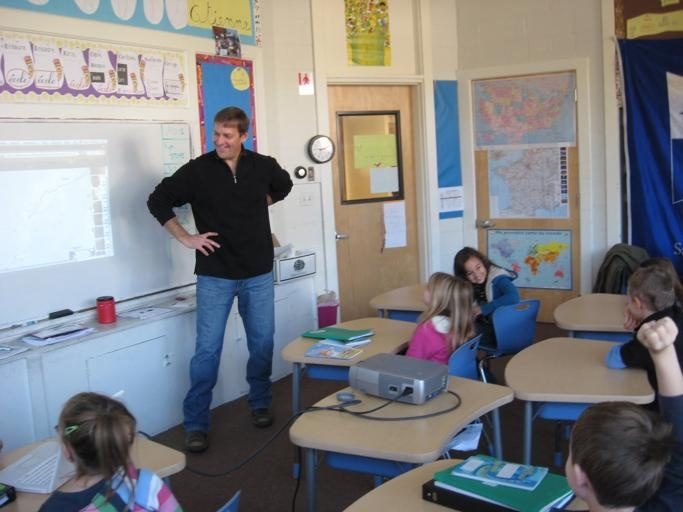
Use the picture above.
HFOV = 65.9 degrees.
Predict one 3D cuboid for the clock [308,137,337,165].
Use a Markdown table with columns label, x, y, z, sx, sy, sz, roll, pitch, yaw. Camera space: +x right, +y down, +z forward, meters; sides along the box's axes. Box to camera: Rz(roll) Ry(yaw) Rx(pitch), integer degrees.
| label | x | y | z | sx | sy | sz | roll | pitch | yaw |
| --- | --- | --- | --- | --- | --- | --- | --- | --- | --- |
| clock | -0.188 | -1.003 | 4.975 | 0.260 | 0.263 | 0.084 | -9 | 12 | -33 |

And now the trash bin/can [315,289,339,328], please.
| label | x | y | z | sx | sy | sz | roll | pitch | yaw |
| --- | --- | --- | --- | --- | --- | --- | --- | --- | --- |
| trash bin/can | -0.159 | 0.492 | 4.958 | 0.326 | 0.362 | 0.258 | -1 | 1 | -16 |

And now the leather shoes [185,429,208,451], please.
| label | x | y | z | sx | sy | sz | roll | pitch | yaw |
| --- | --- | --- | --- | --- | --- | --- | --- | --- | --- |
| leather shoes | -0.944 | 1.202 | 3.409 | 0.140 | 0.129 | 0.103 | -5 | 10 | -11 |

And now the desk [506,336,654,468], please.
| label | x | y | z | sx | sy | sz | roll | pitch | yaw |
| --- | --- | --- | --- | --- | --- | --- | --- | --- | --- |
| desk | 1.089 | 0.563 | 2.435 | 0.633 | 0.450 | 0.539 | -17 | 24 | -41 |

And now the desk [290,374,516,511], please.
| label | x | y | z | sx | sy | sz | roll | pitch | yaw |
| --- | --- | --- | --- | --- | --- | --- | --- | --- | --- |
| desk | 0.187 | 0.537 | 2.034 | 0.615 | 0.360 | 0.717 | 8 | 16 | 36 |

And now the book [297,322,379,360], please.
| label | x | y | z | sx | sy | sz | roll | pitch | yaw |
| --- | --- | --- | --- | --- | --- | --- | --- | --- | --- |
| book | -0.046 | 0.482 | 2.899 | 0.414 | 0.042 | 0.413 | -1 | 10 | 8 |

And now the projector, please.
| label | x | y | z | sx | sy | sz | roll | pitch | yaw |
| --- | --- | --- | --- | --- | --- | --- | --- | --- | --- |
| projector | 0.238 | 0.509 | 2.237 | 0.280 | 0.095 | 0.212 | 5 | 10 | 35 |
